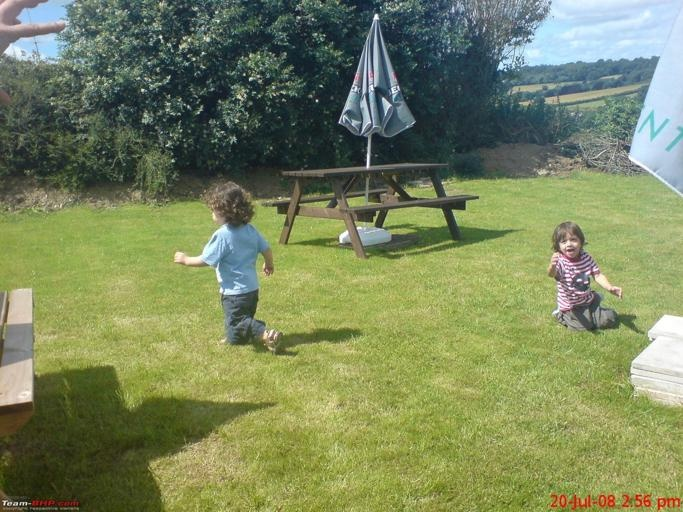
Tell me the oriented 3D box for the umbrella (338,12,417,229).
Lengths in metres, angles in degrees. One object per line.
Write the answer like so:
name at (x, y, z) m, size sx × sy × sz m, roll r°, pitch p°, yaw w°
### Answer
umbrella at (0.538, -2.513, 10.453) m, size 1.104 × 2.296 × 0.606 m, roll 1°, pitch 11°, yaw 9°

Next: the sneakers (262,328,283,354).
sneakers at (-0.676, 0.835, 6.662) m, size 0.123 × 0.274 × 0.140 m, roll 2°, pitch 52°, yaw 5°

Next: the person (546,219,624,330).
person at (2.498, 0.224, 7.083) m, size 0.674 × 1.100 × 0.385 m, roll 4°, pitch 12°, yaw 24°

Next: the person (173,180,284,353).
person at (-1.056, 0.094, 6.869) m, size 0.961 × 1.581 × 0.757 m, roll 0°, pitch 11°, yaw 4°
